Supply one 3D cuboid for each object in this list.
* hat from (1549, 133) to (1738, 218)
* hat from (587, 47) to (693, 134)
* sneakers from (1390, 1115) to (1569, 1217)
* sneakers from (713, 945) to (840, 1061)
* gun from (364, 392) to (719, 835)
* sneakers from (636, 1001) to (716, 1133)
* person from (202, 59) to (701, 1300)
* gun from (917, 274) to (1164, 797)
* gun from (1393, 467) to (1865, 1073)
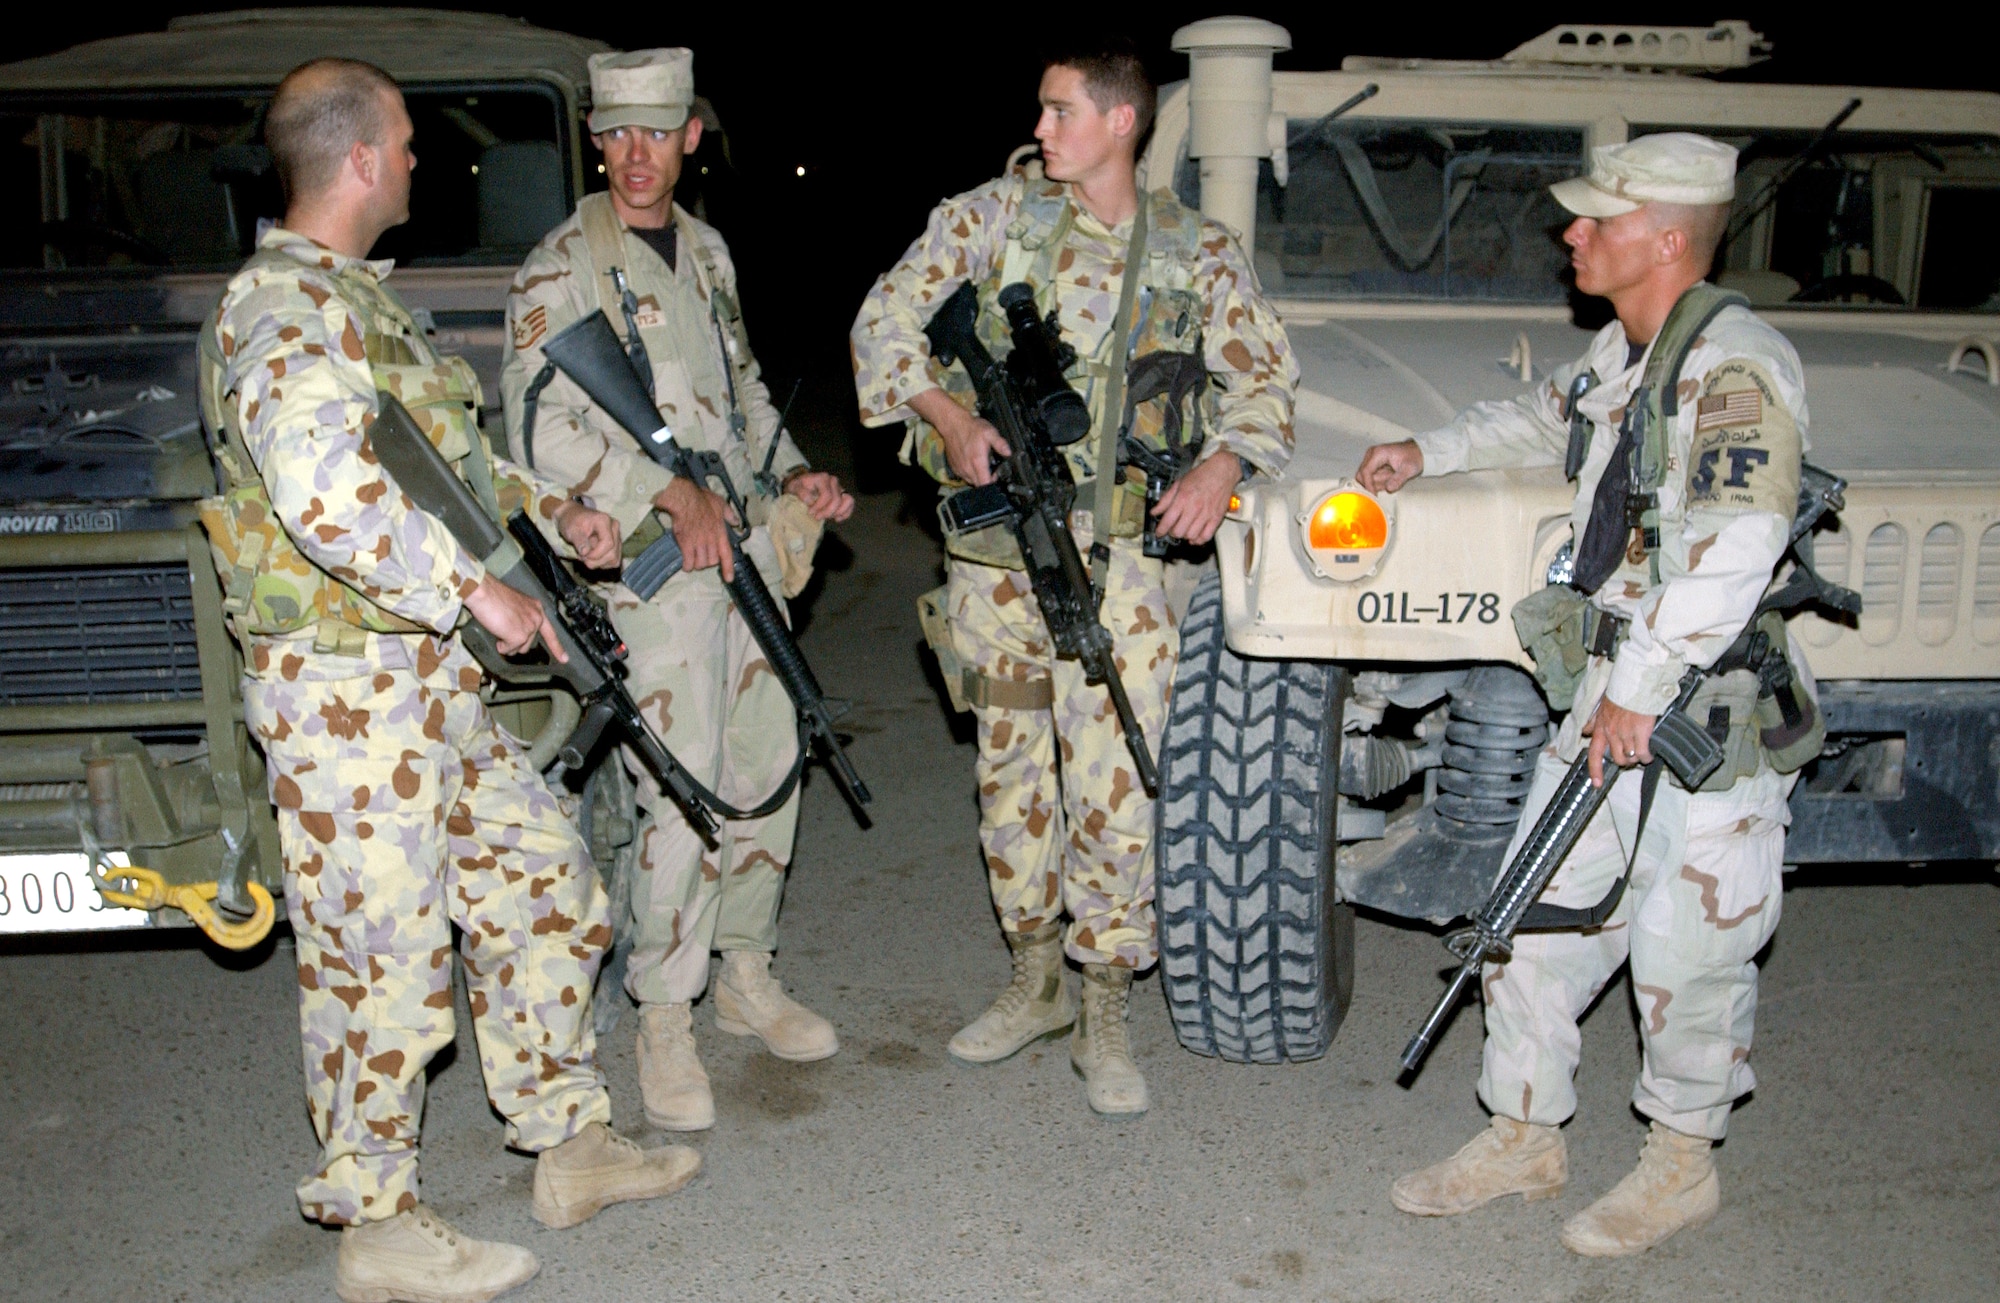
[{"bbox_3d":[1.571,-1.185,4.953,0.459,0.149,0.307,-2,26,6],"label":"hat"},{"bbox_3d":[-0.982,-1.538,5.501,0.321,0.155,0.415,3,31,8],"label":"hat"},{"bbox_3d":[1.247,1.325,5.287,0.542,0.222,0.194,-7,30,4],"label":"sneakers"},{"bbox_3d":[-0.651,1.015,5.886,0.423,0.253,0.139,13,19,26],"label":"sneakers"},{"bbox_3d":[-1.166,-0.118,5.083,0.169,1.412,0.409,-9,34,49],"label":"gun"},{"bbox_3d":[-0.896,1.147,5.577,0.153,0.182,0.416,-2,17,-18],"label":"sneakers"},{"bbox_3d":[-1.434,0.115,4.896,0.828,2.892,0.895,-9,22,-20],"label":"person"},{"bbox_3d":[0.136,-0.359,5.461,0.567,1.406,0.210,-29,-9,41],"label":"gun"},{"bbox_3d":[1.553,0.248,5.046,0.177,1.637,0.537,34,-3,-20],"label":"gun"}]
